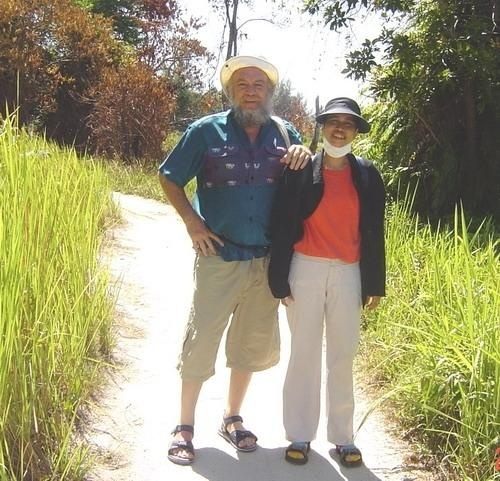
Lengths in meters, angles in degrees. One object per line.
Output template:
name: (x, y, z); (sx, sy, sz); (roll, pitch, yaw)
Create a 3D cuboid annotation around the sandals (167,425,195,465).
sandals: (-0.364, 1.096, 2.826); (0.146, 0.152, 0.205); (3, 13, -6)

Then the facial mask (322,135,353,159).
facial mask: (0.478, -0.501, 2.857); (0.155, 0.104, 0.172); (7, 13, 7)

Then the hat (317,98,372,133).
hat: (0.509, -0.685, 2.841); (0.290, 0.177, 0.166); (8, 12, 10)

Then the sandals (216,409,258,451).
sandals: (-0.071, 1.087, 3.016); (0.099, 0.125, 0.250); (-5, 7, -24)

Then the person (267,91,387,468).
person: (0.428, 0.215, 2.883); (0.634, 1.960, 0.554); (6, 11, 13)
